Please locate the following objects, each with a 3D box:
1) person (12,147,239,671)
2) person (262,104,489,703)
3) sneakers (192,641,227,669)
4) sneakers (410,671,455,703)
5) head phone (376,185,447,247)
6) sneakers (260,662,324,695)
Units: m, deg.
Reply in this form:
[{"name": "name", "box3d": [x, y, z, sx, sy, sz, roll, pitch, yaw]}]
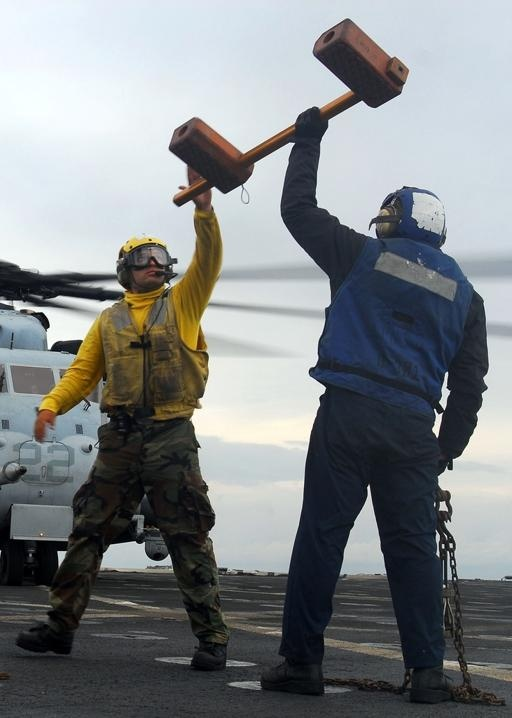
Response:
[{"name": "person", "box3d": [-0.489, 0.282, 3.443, 0.980, 2.094, 0.607, 4, 0, 12]}, {"name": "person", "box3d": [0.400, 0.098, 2.837, 0.764, 1.971, 0.602, 4, 0, 13]}, {"name": "sneakers", "box3d": [-0.183, 1.135, 3.118, 0.064, 0.104, 0.166, -20, -38, 23]}, {"name": "sneakers", "box3d": [0.542, 1.018, 2.559, 0.076, 0.099, 0.171, -9, -13, 42]}, {"name": "head phone", "box3d": [0.578, -0.516, 3.076, 0.306, 0.235, 0.221, 8, 3, -4]}, {"name": "sneakers", "box3d": [0.130, 1.041, 2.655, 0.209, 0.124, 0.078, 3, -35, 10]}]
